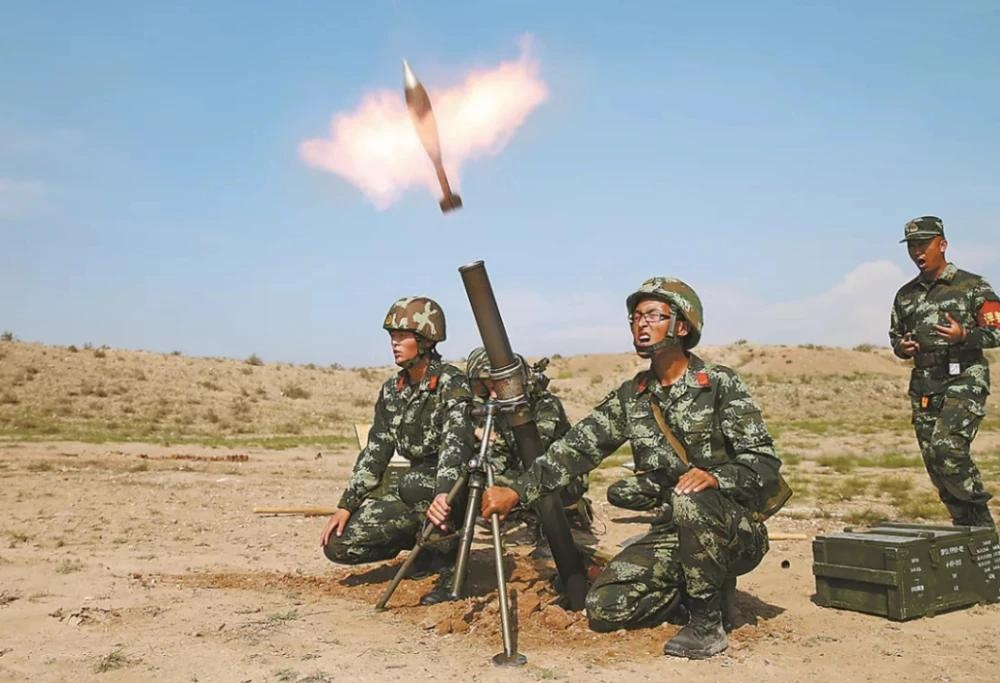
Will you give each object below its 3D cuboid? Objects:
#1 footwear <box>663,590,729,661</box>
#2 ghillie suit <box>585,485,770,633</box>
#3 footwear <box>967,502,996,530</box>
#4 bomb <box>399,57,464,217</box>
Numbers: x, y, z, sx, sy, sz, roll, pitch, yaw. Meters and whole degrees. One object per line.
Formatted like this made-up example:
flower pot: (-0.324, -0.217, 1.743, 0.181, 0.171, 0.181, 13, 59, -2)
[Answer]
footwear: (1.925, 2.744, 9.731, 0.429, 0.532, 0.630, 7, 9, 40)
ghillie suit: (1.782, 2.172, 10.258, 1.835, 1.188, 1.382, 1, -10, -16)
footwear: (5.589, 2.012, 11.519, 0.287, 0.243, 0.389, -1, 7, -11)
bomb: (-0.591, -1.829, 8.999, 0.486, 1.340, 1.041, 0, 7, -5)
